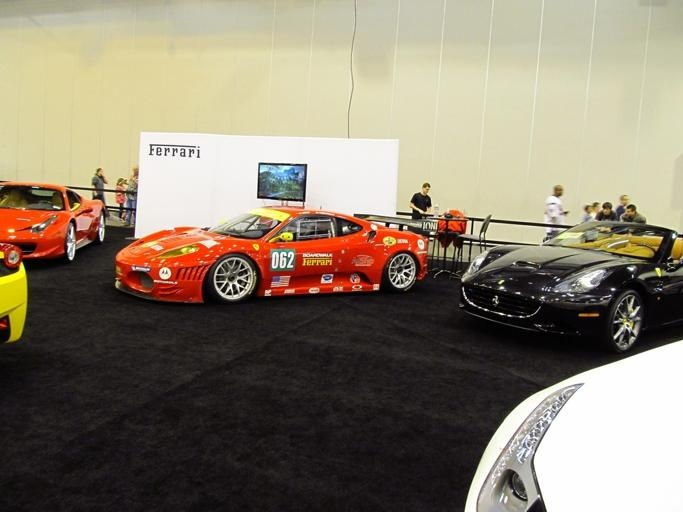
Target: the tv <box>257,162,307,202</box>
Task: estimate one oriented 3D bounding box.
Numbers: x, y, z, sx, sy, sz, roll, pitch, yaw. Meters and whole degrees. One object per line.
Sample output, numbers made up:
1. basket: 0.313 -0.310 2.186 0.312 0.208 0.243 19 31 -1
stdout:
1. tv: -1.504 -1.928 11.481 1.065 0.692 0.105 6 5 10
